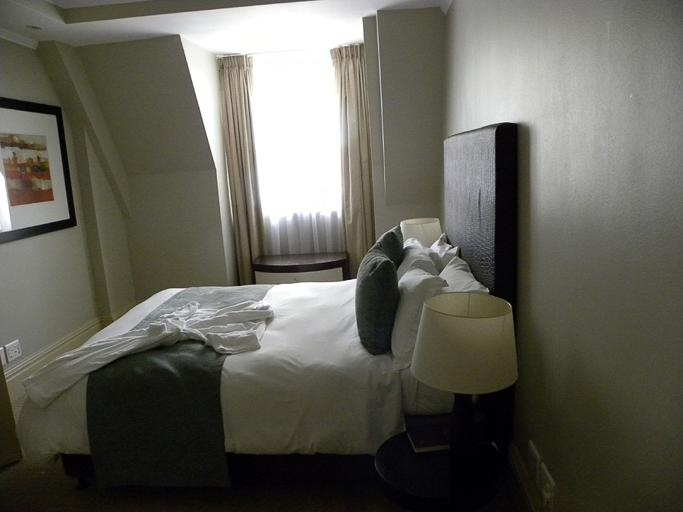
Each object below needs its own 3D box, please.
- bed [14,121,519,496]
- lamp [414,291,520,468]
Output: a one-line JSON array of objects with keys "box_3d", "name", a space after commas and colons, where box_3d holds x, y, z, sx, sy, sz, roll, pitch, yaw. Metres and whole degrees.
[{"box_3d": [-0.326, 0.338, 2.706, 2.131, 1.546, 1.822, -1, 13, 5], "name": "bed"}, {"box_3d": [0.571, 0.571, 2.187, 0.380, 0.849, 0.582, 4, 14, 34], "name": "lamp"}]
